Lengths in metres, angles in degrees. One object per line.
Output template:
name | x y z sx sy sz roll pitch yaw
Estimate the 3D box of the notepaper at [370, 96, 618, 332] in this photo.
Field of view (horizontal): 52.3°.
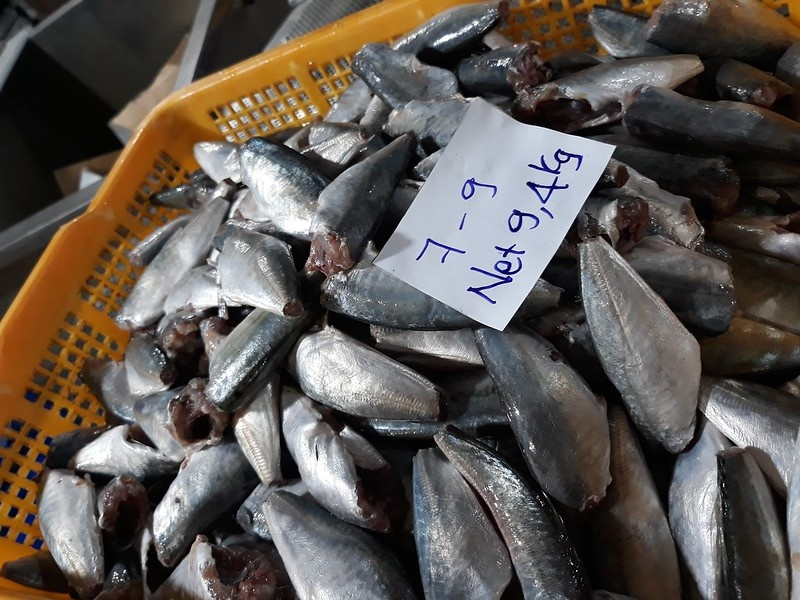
notepaper | 0.225 -0.229 1.978 0.358 0.201 0.594 28 69 34
